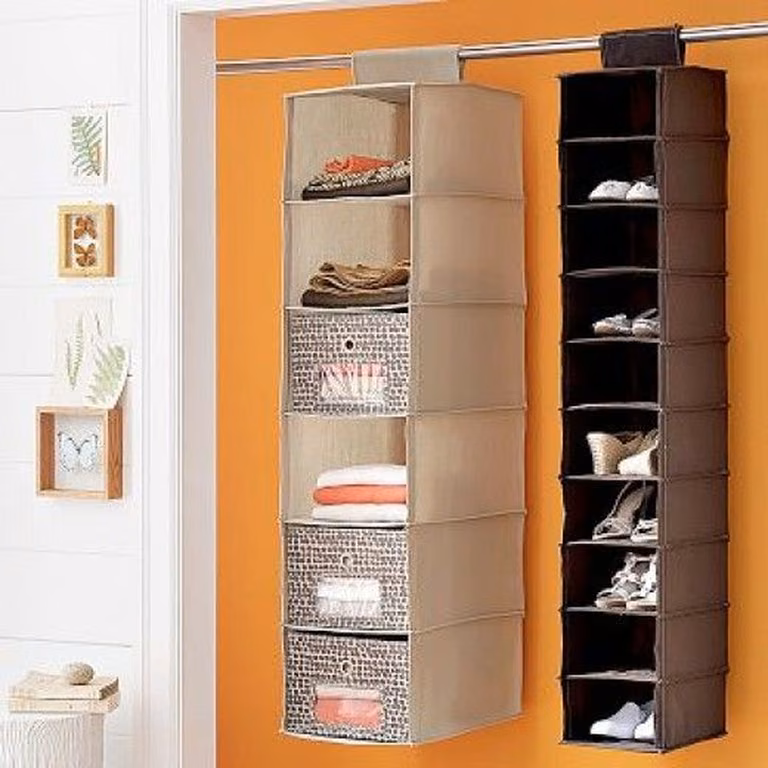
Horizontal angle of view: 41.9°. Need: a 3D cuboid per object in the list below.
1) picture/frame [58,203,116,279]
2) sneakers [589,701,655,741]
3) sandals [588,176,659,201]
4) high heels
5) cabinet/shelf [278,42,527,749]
[{"bbox_3d":[-0.822,-0.397,2.772,0.159,0.269,0.034,1,4,12],"label":"picture/frame"},{"bbox_3d":[0.700,0.985,2.905,0.200,0.100,0.087,1,-6,-18],"label":"sneakers"},{"bbox_3d":[0.702,-0.557,2.878,0.123,0.049,0.095,-3,6,-34],"label":"sandals"},{"bbox_3d":[0.696,0.409,2.945,0.156,0.229,0.539,-4,23,12],"label":"high heels"},{"bbox_3d":[0.079,0.069,3.123,0.843,2.058,0.524,-2,-5,-9],"label":"cabinet/shelf"}]
